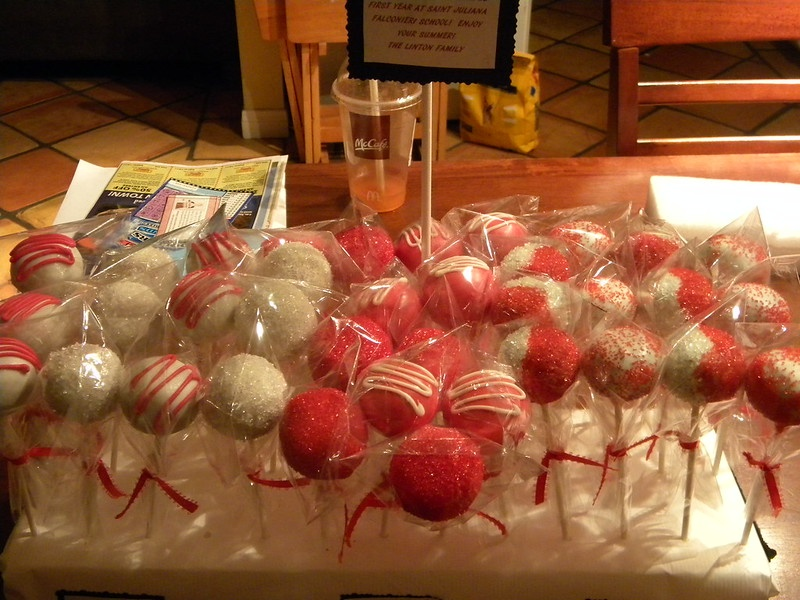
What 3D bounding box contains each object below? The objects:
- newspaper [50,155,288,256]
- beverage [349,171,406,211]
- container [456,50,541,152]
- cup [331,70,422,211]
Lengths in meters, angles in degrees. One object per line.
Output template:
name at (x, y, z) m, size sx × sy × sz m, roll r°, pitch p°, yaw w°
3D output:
newspaper at (-0.332, -0.140, 0.947) m, size 0.251 × 0.035 × 0.179 m, roll 1°, pitch 46°, yaw 2°
beverage at (-0.032, -0.163, 0.899) m, size 0.078 × 0.048 × 0.079 m, roll 20°, pitch 30°, yaw 40°
container at (0.365, -0.779, 2.332) m, size 0.355 × 0.395 × 0.156 m, roll 23°, pitch 58°, yaw 28°
cup at (-0.035, -0.245, 0.954) m, size 0.141 × 0.220 × 0.131 m, roll -1°, pitch -4°, yaw 0°
